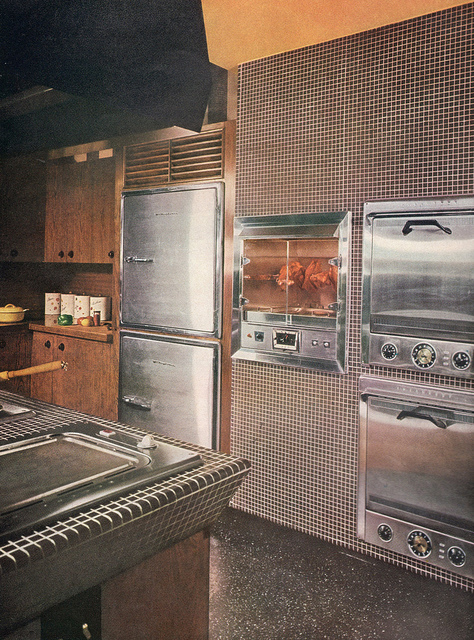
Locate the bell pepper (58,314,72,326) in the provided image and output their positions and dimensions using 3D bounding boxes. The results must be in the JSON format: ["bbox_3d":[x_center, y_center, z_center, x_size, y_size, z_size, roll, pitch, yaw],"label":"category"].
[{"bbox_3d":[-1.368,-0.009,4.155,0.087,0.065,0.087,-3,7,-44],"label":"bell pepper"}]

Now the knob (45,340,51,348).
[{"bbox_3d":[-1.477,0.189,4.069,0.038,0.050,0.011,-3,-4,28],"label":"knob"}]

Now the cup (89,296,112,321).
[{"bbox_3d":[-1.085,-0.095,4.186,0.176,0.200,0.178,1,2,0],"label":"cup"}]

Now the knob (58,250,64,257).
[{"bbox_3d":[-1.405,-0.532,4.167,0.038,0.048,0.011,-9,-13,26],"label":"knob"}]

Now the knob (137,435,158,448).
[{"bbox_3d":[-0.186,0.248,1.078,0.021,0.012,0.030,2,4,5],"label":"knob"}]

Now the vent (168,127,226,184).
[{"bbox_3d":[-0.228,-0.989,3.082,0.427,0.306,0.037,11,8,43],"label":"vent"}]

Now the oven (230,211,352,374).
[{"bbox_3d":[0.288,-0.121,2.715,0.622,0.745,0.241,1,-11,25],"label":"oven"}]

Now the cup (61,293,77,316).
[{"bbox_3d":[-1.364,-0.136,4.284,0.139,0.157,0.141,1,2,0],"label":"cup"}]

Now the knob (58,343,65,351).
[{"bbox_3d":[-1.323,0.201,3.932,0.041,0.053,0.012,1,2,35],"label":"knob"}]

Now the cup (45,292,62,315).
[{"bbox_3d":[-1.514,-0.141,4.306,0.164,0.184,0.165,1,6,0],"label":"cup"}]
